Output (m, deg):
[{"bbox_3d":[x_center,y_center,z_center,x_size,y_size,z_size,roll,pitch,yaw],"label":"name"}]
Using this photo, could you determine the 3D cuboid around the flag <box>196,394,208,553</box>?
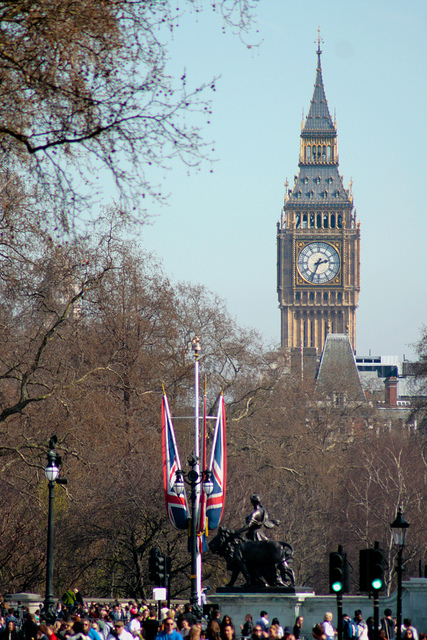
[{"bbox_3d":[-0.377,4.378,56.181,0.223,3.728,0.372,-2,-29,-9],"label":"flag"}]

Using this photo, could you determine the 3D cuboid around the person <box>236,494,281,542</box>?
[{"bbox_3d":[1.173,5.449,53.362,0.963,1.735,0.529,-1,9,-12],"label":"person"}]

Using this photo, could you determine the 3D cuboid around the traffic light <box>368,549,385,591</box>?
[{"bbox_3d":[3.567,5.540,45.361,0.314,0.969,0.973,-2,-13,8],"label":"traffic light"}]

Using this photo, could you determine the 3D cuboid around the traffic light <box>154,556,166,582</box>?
[{"bbox_3d":[-1.341,6.349,52.055,0.212,0.660,0.431,-8,-14,33],"label":"traffic light"}]

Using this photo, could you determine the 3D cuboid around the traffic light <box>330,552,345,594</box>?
[{"bbox_3d":[2.662,5.532,44.618,0.310,0.937,0.545,-1,-12,3],"label":"traffic light"}]
